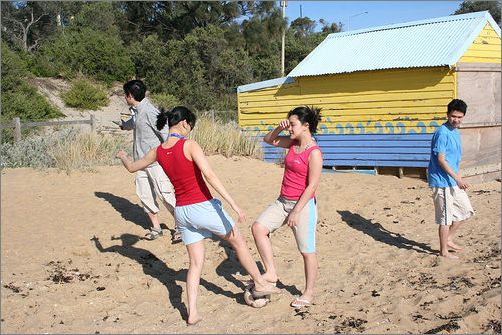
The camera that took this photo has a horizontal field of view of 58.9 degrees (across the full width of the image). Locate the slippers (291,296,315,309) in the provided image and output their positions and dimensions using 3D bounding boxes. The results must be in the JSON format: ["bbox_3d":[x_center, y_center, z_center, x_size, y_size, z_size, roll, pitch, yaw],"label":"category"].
[{"bbox_3d":[0.812,2.237,7.302,0.316,0.082,0.172,3,-2,-38],"label":"slippers"}]

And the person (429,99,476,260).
[{"bbox_3d":[3.702,0.235,8.323,0.527,2.956,0.616,-10,12,-38],"label":"person"}]

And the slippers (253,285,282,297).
[{"bbox_3d":[0.258,2.057,7.336,0.401,0.135,0.220,-6,11,-20],"label":"slippers"}]
